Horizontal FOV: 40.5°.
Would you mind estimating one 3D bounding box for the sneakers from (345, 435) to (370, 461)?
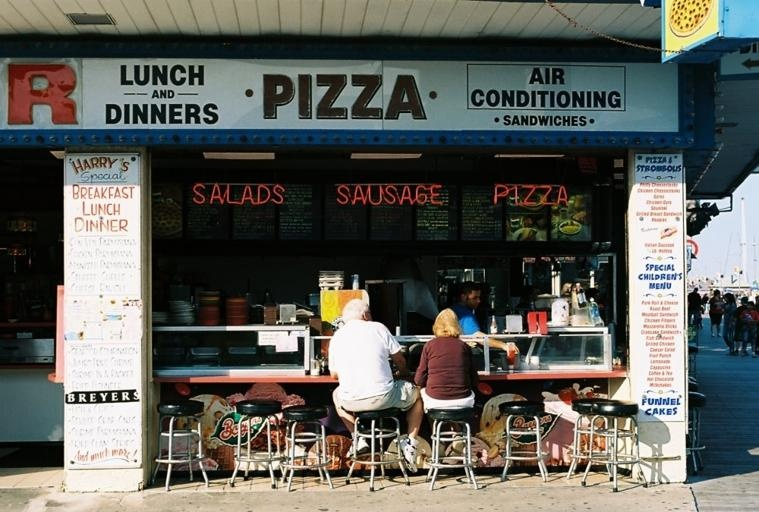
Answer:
[{"bbox_3d":[-0.226,2.150,11.514,0.152,0.175,0.429,5,-13,-19],"label":"sneakers"}]

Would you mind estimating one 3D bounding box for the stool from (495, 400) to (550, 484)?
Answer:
[{"bbox_3d":[1.624,2.078,11.602,0.526,0.890,0.552,-2,-3,7],"label":"stool"}]

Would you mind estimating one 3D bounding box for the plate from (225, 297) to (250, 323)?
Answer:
[{"bbox_3d":[-1.644,0.641,11.975,0.297,0.250,0.281,1,-1,-5],"label":"plate"}]

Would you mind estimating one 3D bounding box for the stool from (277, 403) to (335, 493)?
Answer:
[{"bbox_3d":[-0.816,2.122,11.475,0.564,0.891,0.641,-1,-3,-8],"label":"stool"}]

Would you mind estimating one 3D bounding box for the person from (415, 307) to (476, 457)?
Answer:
[{"bbox_3d":[0.737,1.380,11.441,0.685,1.593,0.513,-2,-3,2],"label":"person"}]

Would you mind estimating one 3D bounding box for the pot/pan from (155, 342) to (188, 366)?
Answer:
[{"bbox_3d":[-2.357,1.126,11.651,0.319,0.194,0.098,-3,9,-15],"label":"pot/pan"}]

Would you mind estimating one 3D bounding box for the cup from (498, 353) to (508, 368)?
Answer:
[{"bbox_3d":[1.401,1.194,11.770,0.165,0.159,0.162,1,-3,0],"label":"cup"}]

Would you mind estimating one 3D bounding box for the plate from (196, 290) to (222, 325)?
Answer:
[{"bbox_3d":[-1.966,0.606,11.898,0.285,0.388,0.240,-1,-3,-10],"label":"plate"}]

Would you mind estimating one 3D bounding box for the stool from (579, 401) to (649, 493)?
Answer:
[{"bbox_3d":[2.616,2.093,11.501,0.710,0.973,0.634,-2,-3,13],"label":"stool"}]

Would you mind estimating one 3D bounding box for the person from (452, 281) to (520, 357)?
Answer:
[{"bbox_3d":[1.285,0.716,12.393,0.811,1.237,0.891,-4,-1,-9],"label":"person"}]

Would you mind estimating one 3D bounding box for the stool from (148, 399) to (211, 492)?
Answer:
[{"bbox_3d":[-2.215,2.088,11.422,0.606,0.955,0.589,-1,-3,-11],"label":"stool"}]

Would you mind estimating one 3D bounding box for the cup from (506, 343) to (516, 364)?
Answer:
[{"bbox_3d":[1.511,1.116,11.746,0.157,0.198,0.209,1,-7,0],"label":"cup"}]

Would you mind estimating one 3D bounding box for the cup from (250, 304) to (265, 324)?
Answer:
[{"bbox_3d":[-1.434,0.679,12.032,0.195,0.210,0.160,-2,-3,10],"label":"cup"}]

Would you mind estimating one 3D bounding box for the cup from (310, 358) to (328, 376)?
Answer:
[{"bbox_3d":[-0.685,1.257,11.667,0.199,0.183,0.089,-1,-3,-9],"label":"cup"}]

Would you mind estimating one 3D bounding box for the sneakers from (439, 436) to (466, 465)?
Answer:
[{"bbox_3d":[0.824,2.203,11.544,0.183,0.207,0.515,2,-4,3],"label":"sneakers"}]

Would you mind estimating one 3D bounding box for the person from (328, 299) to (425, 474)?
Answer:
[{"bbox_3d":[-0.046,1.441,11.448,1.007,1.928,0.390,-1,-3,-1],"label":"person"}]

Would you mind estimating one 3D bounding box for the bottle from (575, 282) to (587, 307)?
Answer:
[{"bbox_3d":[2.438,0.487,12.501,0.131,0.237,0.375,-2,-3,9],"label":"bottle"}]
